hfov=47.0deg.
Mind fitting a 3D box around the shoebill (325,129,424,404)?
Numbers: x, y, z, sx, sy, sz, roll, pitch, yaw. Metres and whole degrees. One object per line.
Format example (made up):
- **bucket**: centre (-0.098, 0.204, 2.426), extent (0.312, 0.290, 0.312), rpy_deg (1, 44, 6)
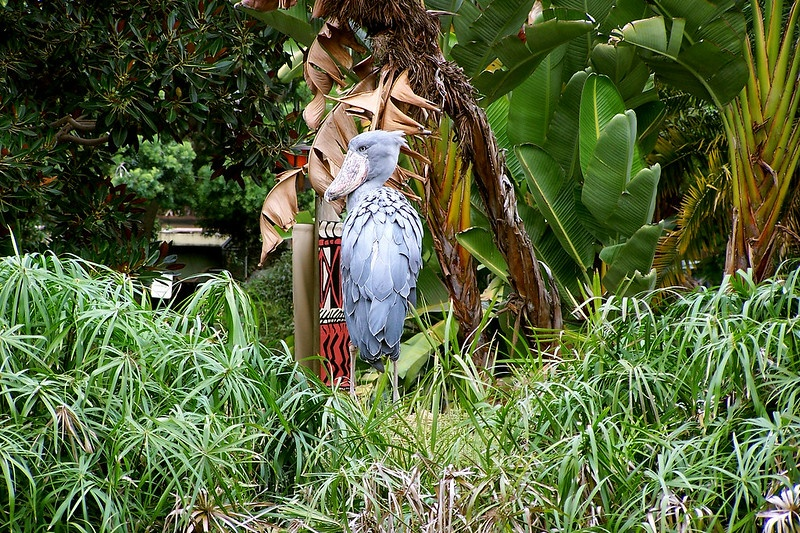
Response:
- **shoebill**: centre (-0.154, 0.043, 5.625), extent (0.572, 1.600, 0.748), rpy_deg (-5, 14, 15)
